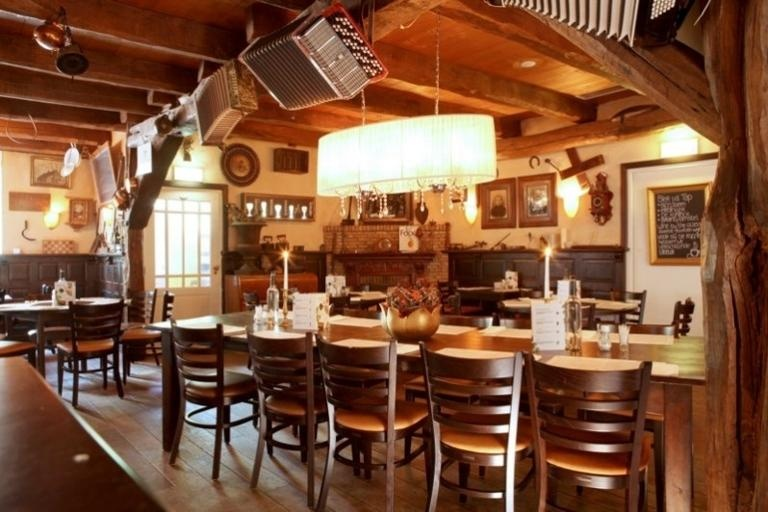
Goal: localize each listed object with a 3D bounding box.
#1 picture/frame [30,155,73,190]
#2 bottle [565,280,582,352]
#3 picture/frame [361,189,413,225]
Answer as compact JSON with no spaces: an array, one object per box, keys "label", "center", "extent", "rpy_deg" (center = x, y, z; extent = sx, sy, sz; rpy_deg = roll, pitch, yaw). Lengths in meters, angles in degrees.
[{"label":"picture/frame","center":[-5.533,-1.395,9.533],"extent":[0.632,0.547,0.062],"rpy_deg":[5,-16,-37]},{"label":"bottle","center":[1.310,0.398,4.010],"extent":[0.094,0.502,0.347],"rpy_deg":[-2,0,17]},{"label":"picture/frame","center":[0.057,-0.735,8.853],"extent":[0.827,0.544,0.065],"rpy_deg":[0,-5,-2]}]
